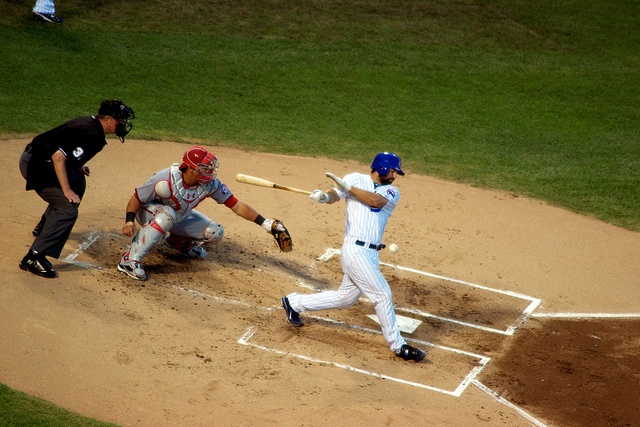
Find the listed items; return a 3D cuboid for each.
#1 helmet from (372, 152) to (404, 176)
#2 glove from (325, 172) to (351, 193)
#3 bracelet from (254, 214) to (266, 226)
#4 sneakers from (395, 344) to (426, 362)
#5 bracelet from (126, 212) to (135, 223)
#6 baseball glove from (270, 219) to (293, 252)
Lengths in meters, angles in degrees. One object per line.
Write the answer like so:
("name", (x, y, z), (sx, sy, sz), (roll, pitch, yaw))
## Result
("helmet", (1.235, -0.933, 15.808), (0.569, 0.302, 0.371), (7, 8, 3))
("glove", (0.338, -0.578, 15.632), (0.447, 0.382, 0.257), (2, 28, 2))
("bracelet", (-1.175, 0.103, 16.767), (0.241, 0.163, 0.083), (-15, 26, 41))
("sneakers", (1.653, 2.538, 15.645), (0.500, 0.210, 0.244), (9, 63, -12))
("bracelet", (-3.595, 0.063, 16.288), (0.161, 0.111, 0.171), (15, 57, -16))
("baseball glove", (-0.726, 0.406, 16.373), (0.340, 0.699, 0.271), (-9, 24, 41))
